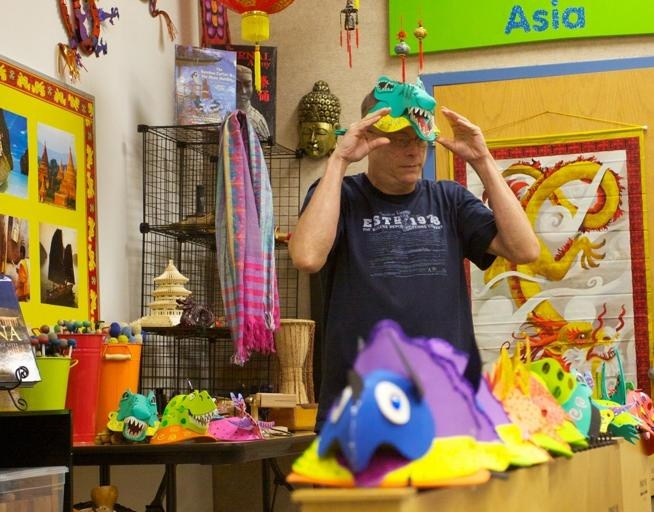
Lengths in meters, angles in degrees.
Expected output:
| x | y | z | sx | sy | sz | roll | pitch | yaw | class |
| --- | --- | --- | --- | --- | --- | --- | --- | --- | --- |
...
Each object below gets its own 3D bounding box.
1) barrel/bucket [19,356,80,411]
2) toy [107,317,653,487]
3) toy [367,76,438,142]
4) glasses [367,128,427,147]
| x | y | z | sx | sy | sz | roll | pitch | yaw | class |
| --- | --- | --- | --- | --- | --- | --- | --- | --- | --- |
| -0.713 | 0.334 | 1.834 | 0.126 | 0.102 | 0.128 | 0 | -11 | 0 | barrel/bucket |
| 0.252 | 0.233 | 1.233 | 0.296 | 0.287 | 0.805 | -8 | -13 | 42 | toy |
| 0.175 | -0.355 | 1.689 | 0.128 | 0.095 | 0.163 | -10 | 22 | -32 | toy |
| 0.162 | -0.284 | 1.678 | 0.138 | 0.055 | 0.071 | -2 | 1 | 11 | glasses |
